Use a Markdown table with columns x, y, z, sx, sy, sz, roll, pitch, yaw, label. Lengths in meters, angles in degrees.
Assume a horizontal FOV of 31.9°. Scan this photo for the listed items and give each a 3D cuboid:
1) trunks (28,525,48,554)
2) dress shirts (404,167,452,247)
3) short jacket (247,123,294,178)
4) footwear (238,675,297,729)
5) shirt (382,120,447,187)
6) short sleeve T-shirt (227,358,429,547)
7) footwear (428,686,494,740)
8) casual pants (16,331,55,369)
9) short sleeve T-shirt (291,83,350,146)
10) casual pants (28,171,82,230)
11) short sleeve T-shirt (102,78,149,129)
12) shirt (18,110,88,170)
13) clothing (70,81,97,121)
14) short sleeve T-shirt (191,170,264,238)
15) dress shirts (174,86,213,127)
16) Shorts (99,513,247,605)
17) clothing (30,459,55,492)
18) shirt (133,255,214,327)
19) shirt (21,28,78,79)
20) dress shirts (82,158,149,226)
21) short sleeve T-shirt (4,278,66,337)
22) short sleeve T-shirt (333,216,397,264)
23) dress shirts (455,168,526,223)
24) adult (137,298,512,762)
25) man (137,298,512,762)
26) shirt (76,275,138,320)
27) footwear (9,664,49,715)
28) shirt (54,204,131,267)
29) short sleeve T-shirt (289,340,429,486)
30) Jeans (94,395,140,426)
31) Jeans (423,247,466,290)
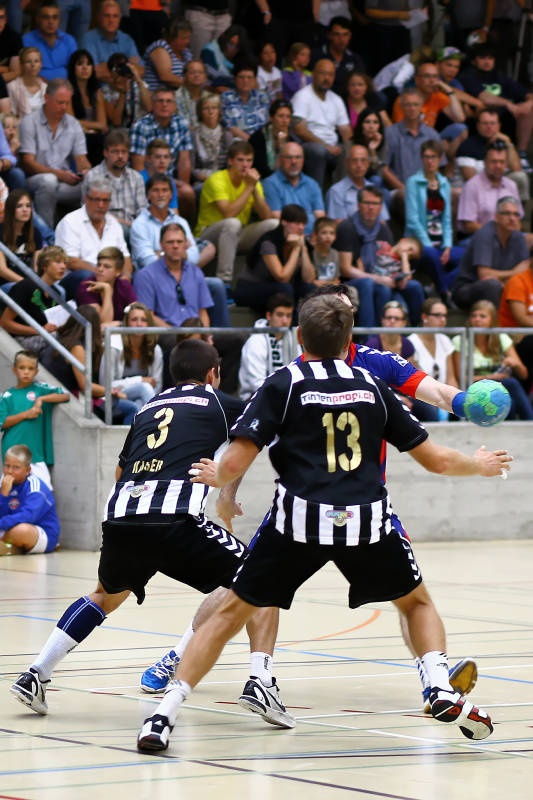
| x | y | z | sx | sy | sz | roll | pitch | yaw | label |
| --- | --- | --- | --- | --- | --- | --- | --- | --- | --- |
| -2.207 | 1.369 | 9.172 | 0.283 | 0.175 | 0.257 | 1 | 9 | -7 | trunks |
| 2.165 | -2.523 | 12.389 | 0.742 | 0.972 | 0.577 | -1 | 13 | -18 | dress shirts |
| 0.166 | -3.314 | 12.272 | 0.441 | 0.873 | 0.403 | -19 | -23 | -5 | short jacket |
| 0.022 | 1.109 | 3.451 | 0.109 | 0.133 | 0.302 | -7 | -37 | 39 | footwear |
| 1.991 | -3.466 | 13.190 | 1.059 | 0.825 | 0.348 | -8 | 26 | -19 | shirt |
| 0.200 | 0.176 | 3.234 | 0.812 | 0.592 | 0.378 | 3 | -2 | -28 | short sleeve T-shirt |
| 0.625 | 0.982 | 3.003 | 0.263 | 0.099 | 0.091 | 23 | -25 | -20 | footwear |
| -2.441 | -0.528 | 9.873 | 0.246 | 0.420 | 0.162 | -53 | 4 | -22 | casual pants |
| 0.760 | -4.100 | 13.523 | 1.064 | 0.780 | 0.482 | -6 | 17 | -31 | short sleeve T-shirt |
| -2.520 | -2.356 | 10.965 | 0.663 | 0.685 | 0.220 | 11 | 31 | 10 | casual pants |
| -1.833 | -3.849 | 12.167 | 0.747 | 0.623 | 0.295 | -6 | 22 | -5 | short sleeve T-shirt |
| -2.687 | -3.146 | 11.389 | 0.474 | 0.719 | 0.945 | 15 | 15 | 37 | shirt |
| -2.375 | -3.882 | 12.175 | 0.408 | 0.439 | 0.169 | -6 | 10 | -20 | clothing |
| -0.435 | -2.422 | 11.626 | 0.877 | 0.819 | 0.743 | 12 | 23 | 20 | short sleeve T-shirt |
| -1.040 | -3.912 | 12.468 | 0.571 | 0.609 | 0.245 | -2 | -3 | 0 | dress shirts |
| -0.401 | 0.624 | 3.790 | 0.647 | 0.385 | 0.308 | -9 | 11 | 9 | Shorts |
| -2.302 | 0.763 | 9.629 | 0.115 | 0.252 | 0.291 | -16 | -15 | 39 | clothing |
| -1.011 | -1.129 | 9.974 | 1.011 | 0.731 | 0.457 | -3 | 4 | -26 | shirt |
| -2.843 | -4.552 | 12.539 | 0.721 | 0.709 | 0.409 | -6 | 19 | 1 | shirt |
| -1.825 | -2.436 | 11.087 | 0.905 | 0.781 | 0.467 | -3 | 23 | -25 | dress shirts |
| -2.407 | -0.948 | 9.664 | 0.342 | 0.498 | 0.615 | 6 | 16 | 42 | short sleeve T-shirt |
| 1.219 | -1.885 | 11.252 | 0.813 | 0.640 | 0.357 | -6 | 18 | -17 | short sleeve T-shirt |
| 3.071 | -2.796 | 12.766 | 0.954 | 0.704 | 0.403 | -11 | 46 | -7 | dress shirts |
| 0.227 | 0.382 | 3.144 | 1.182 | 1.383 | 0.845 | -1 | 18 | -3 | adult |
| 0.227 | 0.382 | 3.144 | 1.182 | 1.383 | 0.845 | -1 | 18 | -3 | man |
| -1.623 | -1.080 | 9.833 | 0.556 | 0.470 | 0.481 | 6 | 45 | 9 | shirt |
| -0.859 | 1.109 | 3.532 | 0.090 | 0.109 | 0.236 | 23 | -15 | 32 | footwear |
| -1.914 | -1.778 | 10.271 | 1.000 | 0.710 | 0.523 | 0 | 15 | -29 | shirt |
| 0.438 | -0.021 | 4.055 | 0.174 | 0.446 | 0.643 | 8 | -15 | -37 | short sleeve T-shirt |
| -1.478 | 0.120 | 9.463 | 0.435 | 0.366 | 0.155 | 9 | 19 | 5 | Jeans |
| 2.208 | -1.626 | 11.885 | 0.670 | 0.616 | 0.208 | -5 | 0 | -9 | Jeans |
